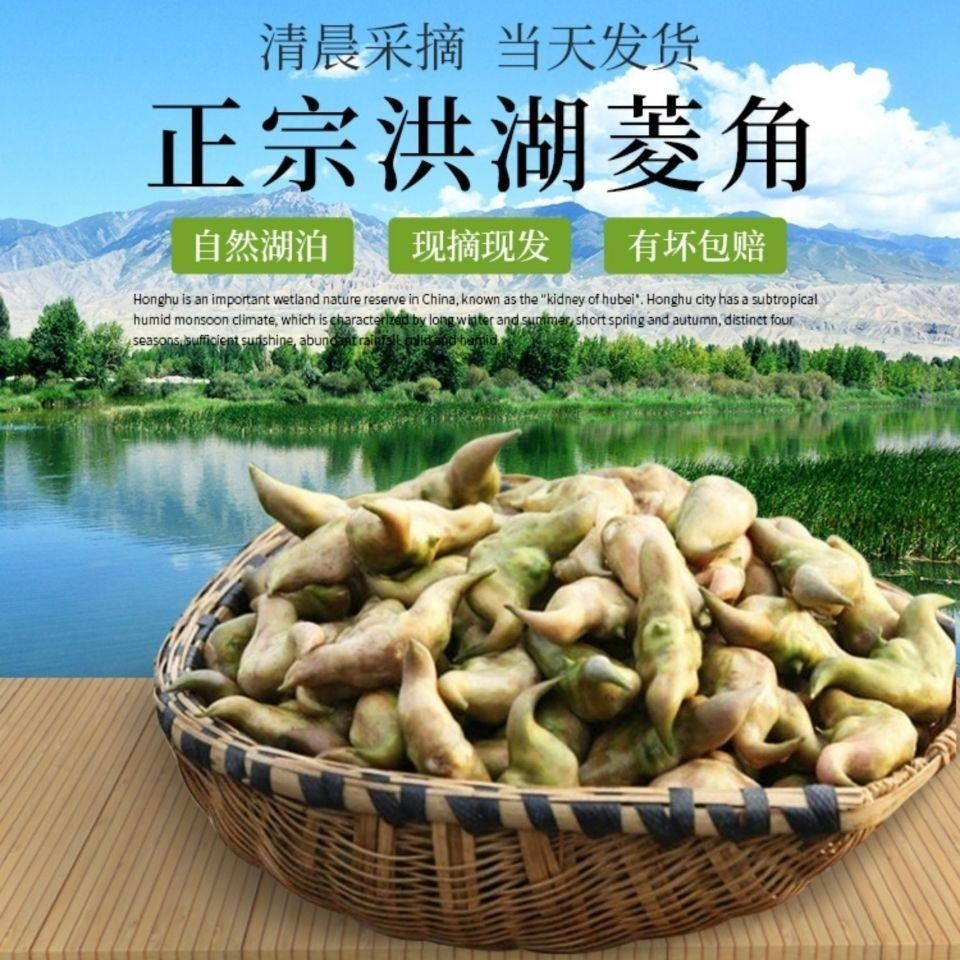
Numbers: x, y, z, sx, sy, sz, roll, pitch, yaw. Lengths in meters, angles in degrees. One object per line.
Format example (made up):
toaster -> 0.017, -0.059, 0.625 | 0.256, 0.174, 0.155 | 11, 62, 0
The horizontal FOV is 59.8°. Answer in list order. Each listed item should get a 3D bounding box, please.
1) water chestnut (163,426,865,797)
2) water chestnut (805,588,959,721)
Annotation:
water chestnut -> 0.053, 0.006, 1.244 | 0.888, 0.447, 0.623 | -1, 12, -8
water chestnut -> 0.436, 0.292, 0.944 | 0.103, 0.065, 0.218 | -4, 23, 21
